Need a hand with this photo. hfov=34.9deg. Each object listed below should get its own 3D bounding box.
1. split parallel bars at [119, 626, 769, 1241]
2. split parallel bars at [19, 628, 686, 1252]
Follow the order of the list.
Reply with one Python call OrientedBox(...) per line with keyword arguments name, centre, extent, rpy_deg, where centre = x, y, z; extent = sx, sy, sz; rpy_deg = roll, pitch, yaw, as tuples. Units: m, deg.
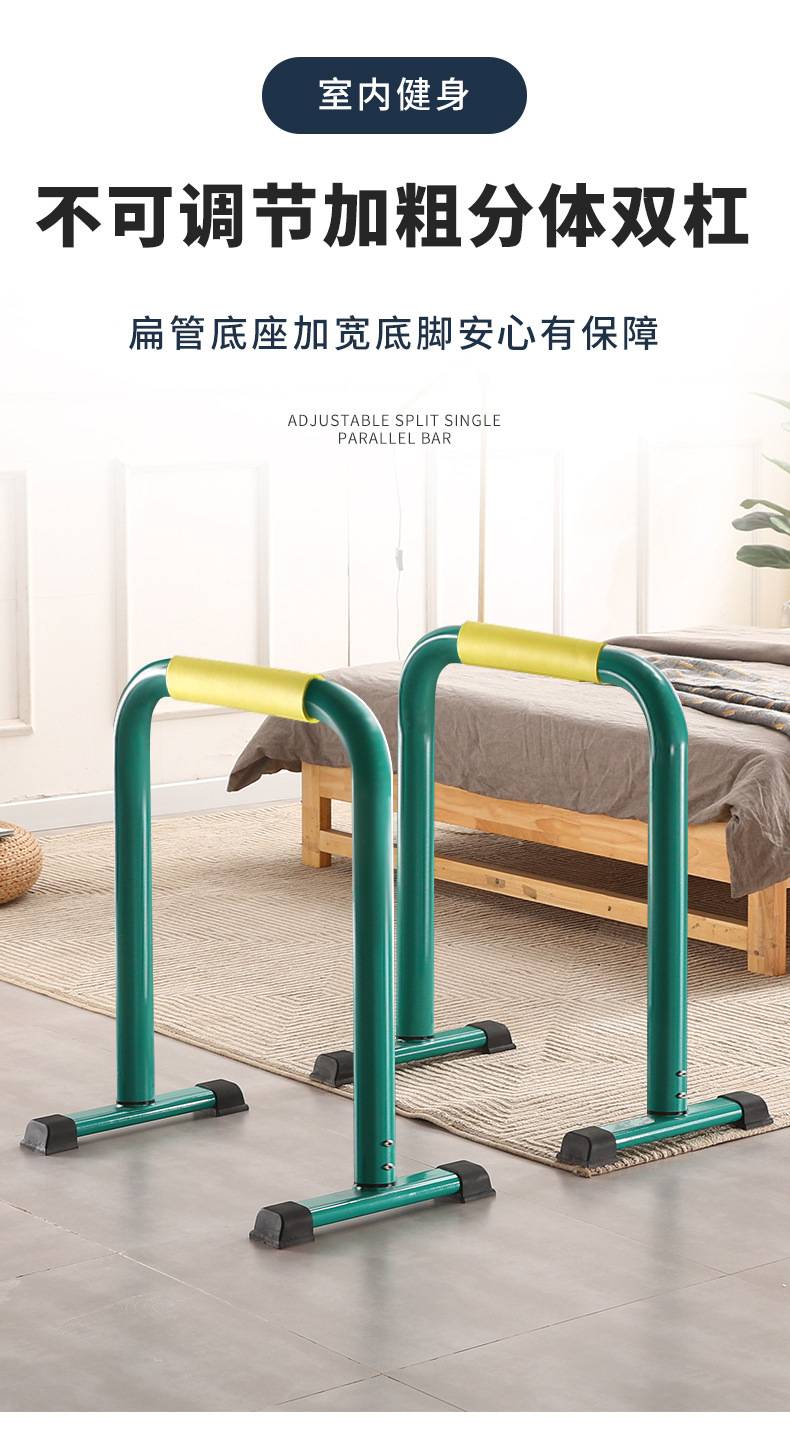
OrientedBox(name="split parallel bars", centre=(0.010, 0.282, 2.204), extent=(0.983, 0.979, 0.876), rpy_deg=(-3, 5, -34))
OrientedBox(name="split parallel bars", centre=(0.005, 0.260, 2.107), extent=(1.014, 0.854, 0.774), rpy_deg=(-2, 5, -41))
